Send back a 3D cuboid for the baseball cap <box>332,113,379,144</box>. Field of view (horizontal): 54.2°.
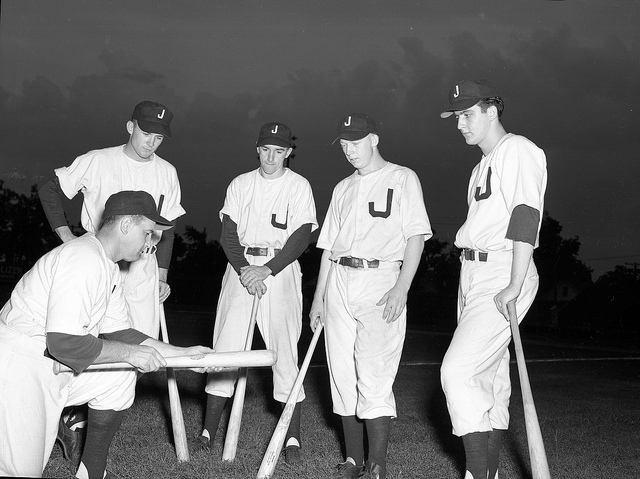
[{"bbox_3d":[0.335,-1.082,6.041,0.356,0.281,0.504,-2,8,29],"label":"baseball cap"}]

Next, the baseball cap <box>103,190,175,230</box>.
[{"bbox_3d":[-1.400,-0.195,4.800,0.405,0.229,0.266,7,-2,-23],"label":"baseball cap"}]

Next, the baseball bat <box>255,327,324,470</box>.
[{"bbox_3d":[-0.338,1.746,6.739,0.168,0.184,1.375,20,61,9],"label":"baseball bat"}]

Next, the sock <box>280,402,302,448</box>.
[{"bbox_3d":[-0.256,1.860,6.204,0.125,0.555,0.150,-1,-16,1],"label":"sock"}]

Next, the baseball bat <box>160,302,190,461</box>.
[{"bbox_3d":[-1.396,1.572,6.014,0.161,0.170,1.307,18,21,-22],"label":"baseball bat"}]

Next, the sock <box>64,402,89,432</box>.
[{"bbox_3d":[-2.477,1.771,6.354,0.196,0.118,0.200,-21,35,5],"label":"sock"}]

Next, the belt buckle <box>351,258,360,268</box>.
[{"bbox_3d":[0.330,0.213,5.810,0.076,0.087,0.019,1,-3,10],"label":"belt buckle"}]

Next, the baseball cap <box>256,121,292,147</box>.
[{"bbox_3d":[-0.481,-1.097,6.604,0.359,0.267,0.280,2,12,-9],"label":"baseball cap"}]

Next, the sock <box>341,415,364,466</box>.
[{"bbox_3d":[0.300,1.818,5.696,0.189,0.404,0.321,2,12,-5],"label":"sock"}]
